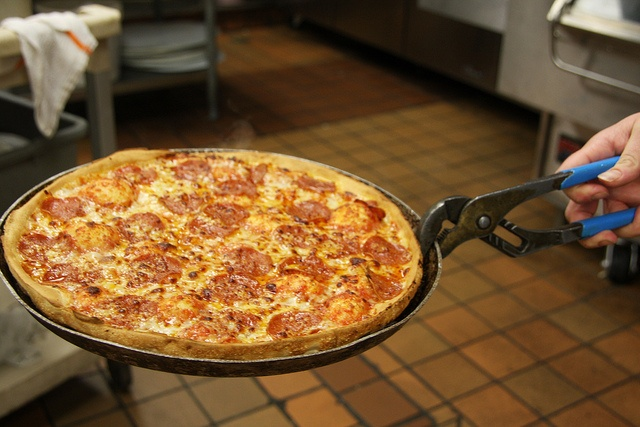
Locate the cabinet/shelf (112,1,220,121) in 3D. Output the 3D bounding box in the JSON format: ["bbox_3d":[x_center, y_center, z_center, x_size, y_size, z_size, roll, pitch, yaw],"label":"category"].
[{"bbox_3d":[-0.774,-0.796,2.534,0.457,0.300,0.443,-22,36,-37],"label":"cabinet/shelf"}]
